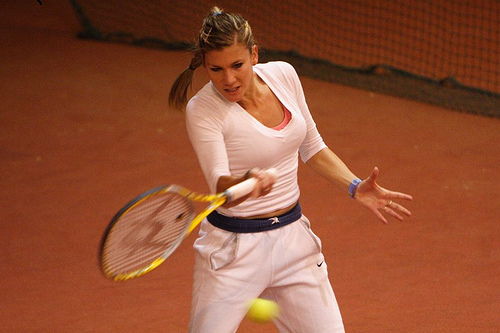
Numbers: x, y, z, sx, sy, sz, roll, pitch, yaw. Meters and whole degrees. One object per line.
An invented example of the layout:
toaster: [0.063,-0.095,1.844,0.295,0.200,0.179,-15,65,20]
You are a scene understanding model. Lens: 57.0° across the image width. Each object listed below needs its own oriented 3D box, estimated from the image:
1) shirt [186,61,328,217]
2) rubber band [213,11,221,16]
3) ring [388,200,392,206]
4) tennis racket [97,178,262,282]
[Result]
shirt: [0.077,-0.169,3.068,1.035,0.966,0.495,-12,15,-34]
rubber band: [-0.200,-0.927,2.787,0.035,0.009,0.037,-12,28,-3]
ring: [0.944,0.248,3.105,0.013,0.032,0.019,-9,50,-9]
tennis racket: [-0.460,0.317,2.690,0.877,0.533,0.287,-14,51,-14]
